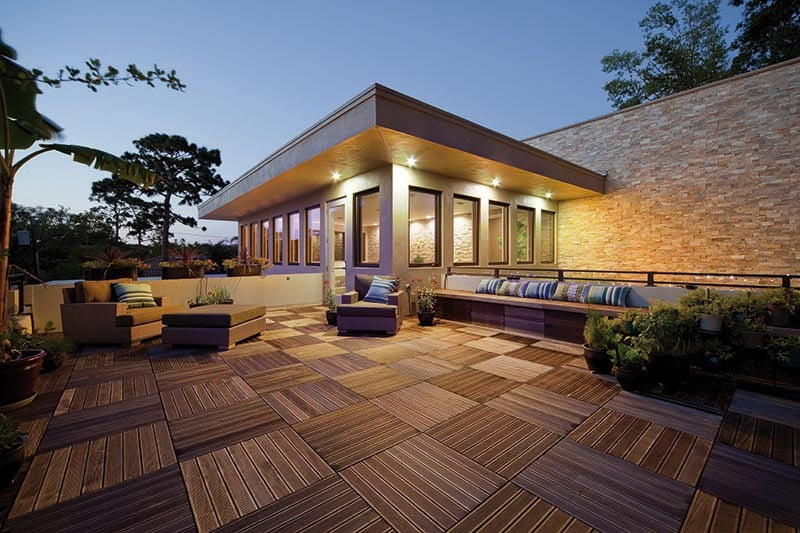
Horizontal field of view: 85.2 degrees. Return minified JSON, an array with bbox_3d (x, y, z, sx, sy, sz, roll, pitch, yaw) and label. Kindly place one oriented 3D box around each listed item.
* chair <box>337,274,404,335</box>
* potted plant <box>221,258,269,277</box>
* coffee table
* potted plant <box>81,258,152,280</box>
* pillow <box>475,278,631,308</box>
[{"bbox_3d":[-0.714,0.835,9.705,1.361,1.183,1.350,-1,-6,6],"label":"chair"},{"bbox_3d":[-4.106,0.032,11.697,1.019,0.282,0.714,-1,2,-29],"label":"potted plant"},{"bbox_3d":[-3.552,1.165,8.345,1.835,0.721,0.842,-2,2,-18],"label":"coffee table"},{"bbox_3d":[-6.084,0.062,9.224,0.600,0.332,0.873,-2,-2,43],"label":"potted plant"},{"bbox_3d":[3.281,0.510,8.806,3.360,0.412,0.644,-4,-6,30],"label":"pillow"}]
